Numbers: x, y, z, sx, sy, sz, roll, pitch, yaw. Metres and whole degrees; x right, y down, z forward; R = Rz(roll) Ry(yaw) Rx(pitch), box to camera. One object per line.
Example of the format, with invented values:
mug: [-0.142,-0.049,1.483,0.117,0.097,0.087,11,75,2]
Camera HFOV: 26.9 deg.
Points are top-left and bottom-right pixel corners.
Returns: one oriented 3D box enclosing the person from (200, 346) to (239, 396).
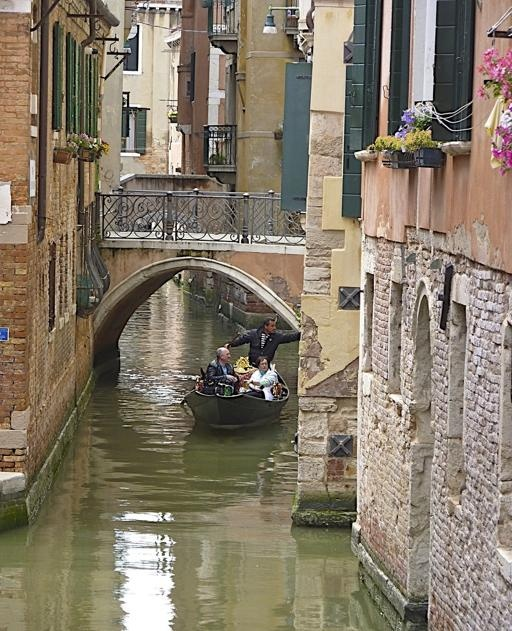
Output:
person: [-0.524,1.080,16.475,0.470,1.161,0.589,0,2,-17]

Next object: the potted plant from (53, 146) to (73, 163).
potted plant: [-2.278,-1.895,12.709,0.226,0.191,0.463,-1,6,-11]

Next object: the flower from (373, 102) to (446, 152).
flower: [0.963,-1.164,6.783,0.370,0.216,0.241,-1,-2,43]

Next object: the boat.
boat: [-0.371,1.382,16.551,1.158,1.061,1.257,4,9,34]

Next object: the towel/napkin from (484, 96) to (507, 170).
towel/napkin: [1.043,-0.800,4.675,0.098,0.500,0.084,-9,9,-40]
